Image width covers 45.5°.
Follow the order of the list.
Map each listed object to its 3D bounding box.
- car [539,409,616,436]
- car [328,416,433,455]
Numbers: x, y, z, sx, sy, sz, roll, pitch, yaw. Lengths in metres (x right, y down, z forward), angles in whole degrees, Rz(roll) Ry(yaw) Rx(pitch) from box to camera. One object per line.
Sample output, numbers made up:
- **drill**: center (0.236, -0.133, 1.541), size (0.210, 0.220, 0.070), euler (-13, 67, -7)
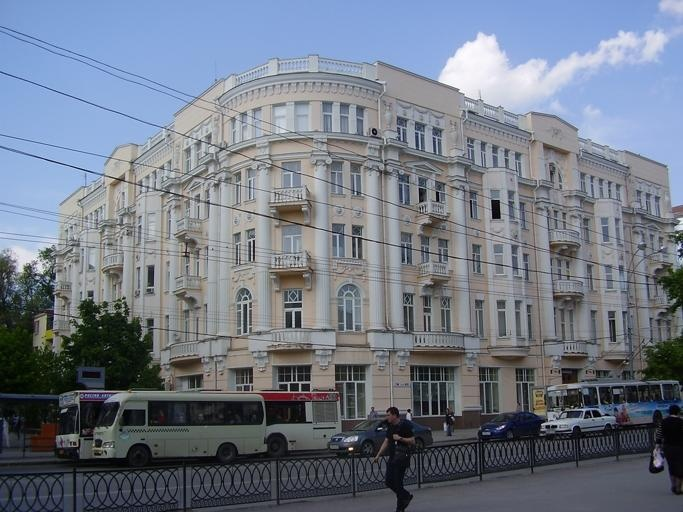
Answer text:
- **car**: center (12.734, 8.910, 43.854), size (3.928, 1.384, 1.558), euler (6, -17, -28)
- **car**: center (1.607, 8.569, 39.124), size (5.951, 1.795, 2.670), euler (6, -13, -30)
